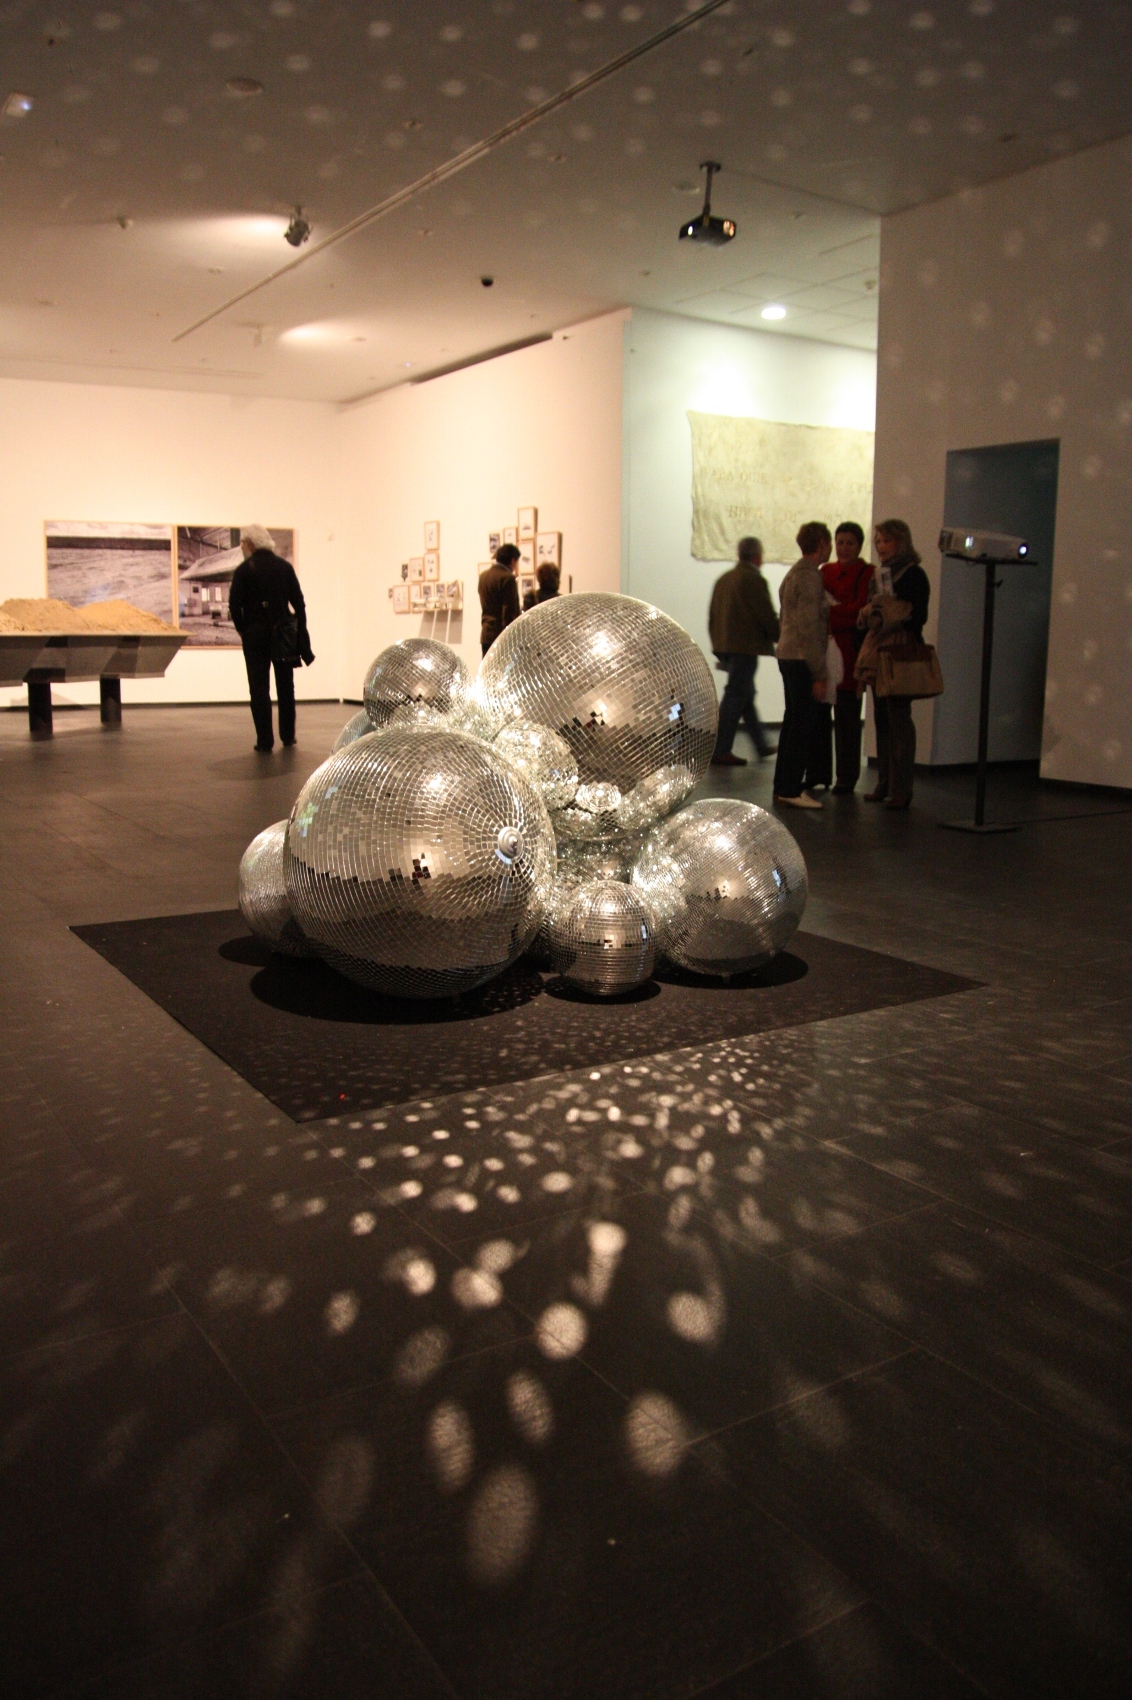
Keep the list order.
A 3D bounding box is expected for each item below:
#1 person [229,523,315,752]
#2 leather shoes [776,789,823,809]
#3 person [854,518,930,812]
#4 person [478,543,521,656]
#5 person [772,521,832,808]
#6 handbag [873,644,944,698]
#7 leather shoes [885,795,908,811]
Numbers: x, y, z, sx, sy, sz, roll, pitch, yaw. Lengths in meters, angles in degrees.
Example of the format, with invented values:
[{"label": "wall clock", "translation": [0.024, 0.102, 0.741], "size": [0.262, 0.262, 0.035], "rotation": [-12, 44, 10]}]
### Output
[{"label": "person", "translation": [-2.496, -1.785, 9.312], "size": [0.637, 1.921, 1.490], "rotation": [-1, 5, -16]}, {"label": "leather shoes", "translation": [1.338, -0.262, 6.163], "size": [0.308, 0.077, 0.213], "rotation": [-5, 8, -43]}, {"label": "person", "translation": [1.842, -1.024, 6.205], "size": [0.362, 1.599, 0.504], "rotation": [2, 5, 15]}, {"label": "person", "translation": [-0.583, -2.205, 9.530], "size": [0.314, 0.949, 0.945], "rotation": [0, 5, -5]}, {"label": "person", "translation": [1.331, -1.034, 6.199], "size": [0.272, 1.572, 0.389], "rotation": [1, 5, 13]}, {"label": "handbag", "translation": [1.869, -0.978, 6.045], "size": [0.274, 0.268, 0.110], "rotation": [1, 9, -6]}, {"label": "leather shoes", "translation": [1.898, -0.265, 6.264], "size": [0.109, 0.053, 0.158], "rotation": [10, 7, 19]}]
